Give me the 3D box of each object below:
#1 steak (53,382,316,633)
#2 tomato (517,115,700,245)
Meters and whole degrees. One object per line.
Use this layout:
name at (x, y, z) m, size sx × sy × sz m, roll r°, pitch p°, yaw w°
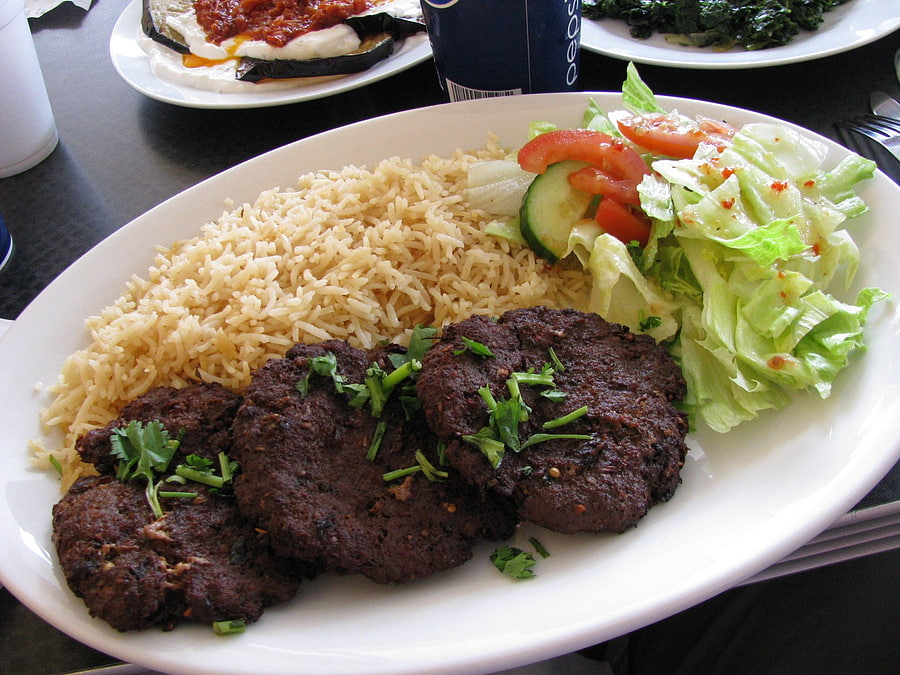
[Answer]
steak at (-0.807, 0.498, 2.132) m, size 0.561 × 0.193 × 0.727 m, roll -22°, pitch 66°, yaw -7°
tomato at (0.511, -0.561, 2.579) m, size 0.477 × 0.140 × 0.473 m, roll -41°, pitch 62°, yaw -9°
